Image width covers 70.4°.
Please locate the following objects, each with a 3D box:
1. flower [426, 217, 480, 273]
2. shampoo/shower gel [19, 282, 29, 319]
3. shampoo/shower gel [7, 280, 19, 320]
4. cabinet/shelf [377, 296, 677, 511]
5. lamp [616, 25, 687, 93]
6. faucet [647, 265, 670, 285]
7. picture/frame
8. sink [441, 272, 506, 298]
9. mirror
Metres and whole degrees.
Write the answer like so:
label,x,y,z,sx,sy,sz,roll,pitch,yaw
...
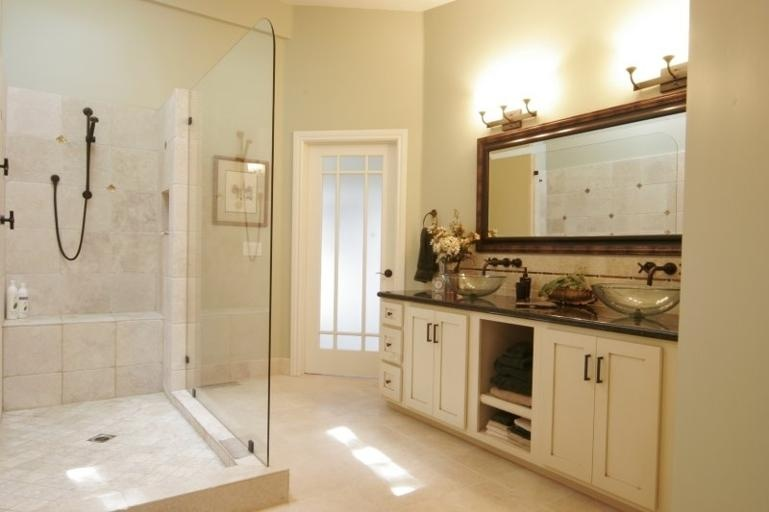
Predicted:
label,x,y,z,sx,sy,sz,roll,pitch,yaw
flower,0.575,-0.110,4.584,0.500,0.490,0.442,1,8,4
shampoo/shower gel,-2.866,0.343,4.333,0.056,0.265,0.138,-1,8,-22
shampoo/shower gel,-2.926,0.337,4.277,0.081,0.286,0.189,-2,9,-33
cabinet/shelf,0.823,0.845,3.486,0.306,1.019,1.932,-4,9,-38
lamp,1.735,-1.279,3.512,0.416,0.443,0.201,8,9,34
faucet,1.677,0.125,3.364,0.089,0.125,0.274,7,8,31
picture/frame,-0.892,-0.394,3.391,0.022,0.431,0.446,6,7,31
sink,0.638,0.219,3.950,0.429,0.192,0.180,4,7,8
mirror,1.349,-0.500,3.938,0.076,1.002,1.627,-5,2,-42
